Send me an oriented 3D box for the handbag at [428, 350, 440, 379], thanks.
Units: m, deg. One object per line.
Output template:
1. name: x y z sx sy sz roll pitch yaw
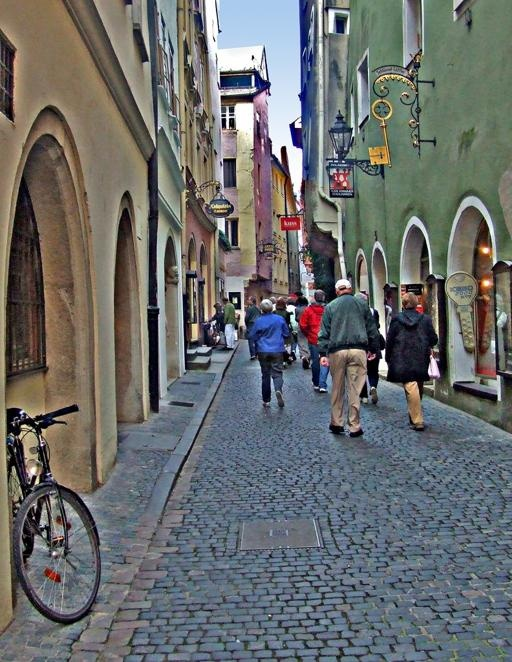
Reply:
1. handbag: 2.592 0.506 8.136 0.098 0.492 0.399 -4 -10 10

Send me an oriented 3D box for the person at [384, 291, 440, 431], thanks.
1. person: 2.127 0.400 7.707 0.620 1.826 0.644 1 4 44

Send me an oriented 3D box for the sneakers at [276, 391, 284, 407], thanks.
1. sneakers: 0.395 1.157 9.422 0.075 0.332 0.116 -10 4 4

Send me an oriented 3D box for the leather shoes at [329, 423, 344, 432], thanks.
1. leather shoes: 1.061 1.287 7.378 0.197 0.126 0.242 -2 4 10

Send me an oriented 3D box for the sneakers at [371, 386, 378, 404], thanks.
1. sneakers: 2.074 1.147 9.813 0.094 0.358 0.130 -6 -5 12

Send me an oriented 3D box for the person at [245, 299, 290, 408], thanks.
1. person: 0.268 0.398 9.937 0.431 1.947 0.680 1 -5 -35

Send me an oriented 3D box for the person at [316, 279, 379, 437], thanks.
1. person: 1.196 0.332 7.557 0.746 2.021 0.859 1 4 37

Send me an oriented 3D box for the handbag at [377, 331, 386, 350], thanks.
1. handbag: 2.160 0.171 9.619 0.128 0.224 0.313 -12 37 9

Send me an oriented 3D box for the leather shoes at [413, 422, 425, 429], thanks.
1. leather shoes: 2.162 1.265 7.383 0.142 0.081 0.148 -2 4 6
